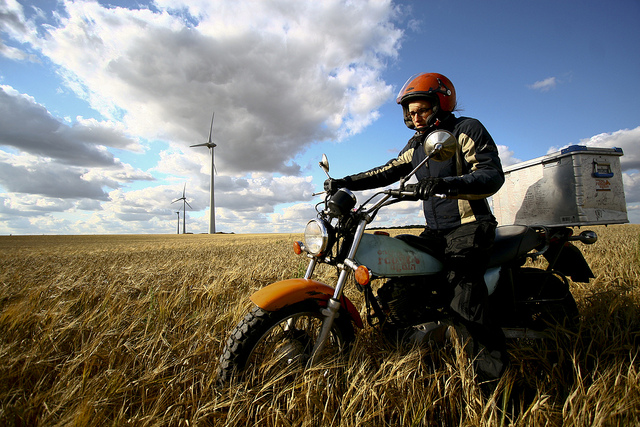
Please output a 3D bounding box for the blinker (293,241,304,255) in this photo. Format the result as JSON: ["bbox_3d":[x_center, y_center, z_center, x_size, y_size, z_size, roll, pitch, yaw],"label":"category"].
[{"bbox_3d":[-0.271,0.375,4.174,0.110,0.200,0.197,-3,-4,-17],"label":"blinker"}]

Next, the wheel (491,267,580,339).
[{"bbox_3d":[2.499,1.077,4.381,1.619,0.809,0.477,0,-2,-11],"label":"wheel"}]

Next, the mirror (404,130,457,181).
[{"bbox_3d":[1.065,-0.599,3.605,0.683,0.304,0.298,-29,15,-35],"label":"mirror"}]

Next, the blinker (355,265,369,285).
[{"bbox_3d":[0.409,0.608,3.662,0.139,0.132,0.077,-4,-2,3],"label":"blinker"}]
